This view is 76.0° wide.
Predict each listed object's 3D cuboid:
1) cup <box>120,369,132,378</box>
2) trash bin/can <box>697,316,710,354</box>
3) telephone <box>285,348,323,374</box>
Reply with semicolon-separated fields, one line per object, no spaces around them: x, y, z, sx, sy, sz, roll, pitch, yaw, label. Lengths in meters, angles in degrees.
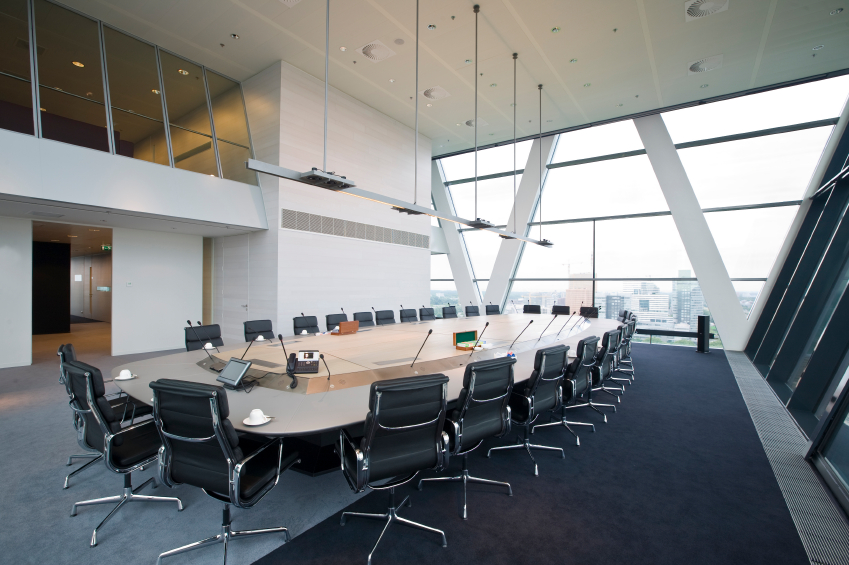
-3.911;1.190;7.088;0.133;0.118;0.099;2;-16;6;cup
6.341;1.161;12.346;0.291;0.812;0.271;7;10;34;trash bin/can
-1.576;1.044;7.103;0.474;0.333;0.273;1;-6;-17;telephone
